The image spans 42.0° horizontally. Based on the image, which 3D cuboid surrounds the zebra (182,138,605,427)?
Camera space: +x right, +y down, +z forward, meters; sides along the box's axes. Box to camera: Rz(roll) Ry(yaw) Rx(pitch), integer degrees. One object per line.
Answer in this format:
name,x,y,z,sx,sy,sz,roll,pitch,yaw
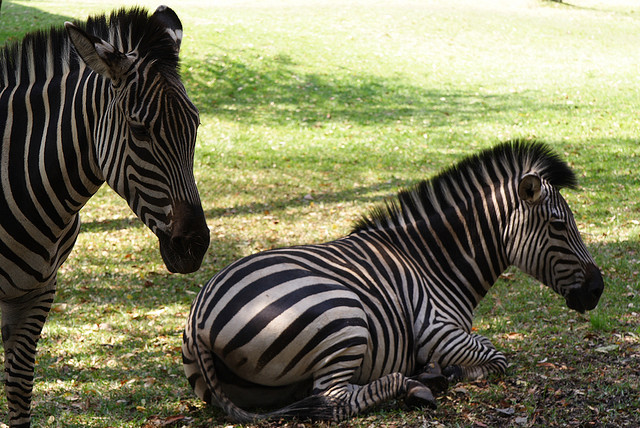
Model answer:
zebra,1.314,0.923,13.082,6.909,4.164,3.042,-9,8,-22
